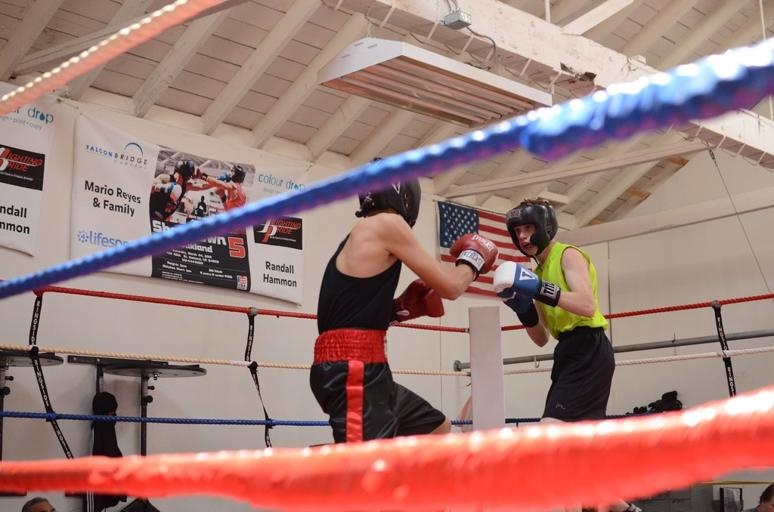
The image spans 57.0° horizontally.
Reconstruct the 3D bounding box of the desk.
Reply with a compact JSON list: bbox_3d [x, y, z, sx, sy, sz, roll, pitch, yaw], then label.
[{"bbox_3d":[-1.809,1.173,4.748,0.956,1.105,1.716,-4,-10,-13],"label":"desk"}]

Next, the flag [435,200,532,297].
[{"bbox_3d":[0.631,-0.075,5.006,0.041,0.667,0.970,-24,-46,38],"label":"flag"}]

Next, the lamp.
[{"bbox_3d":[0.336,-1.135,4.731,1.455,0.365,0.793,2,-12,-39],"label":"lamp"}]

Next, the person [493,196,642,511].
[{"bbox_3d":[0.729,0.213,3.134,0.443,1.026,0.630,-9,-10,15],"label":"person"}]

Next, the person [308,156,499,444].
[{"bbox_3d":[-0.007,0.184,2.606,0.559,0.950,0.580,-13,-12,34],"label":"person"}]

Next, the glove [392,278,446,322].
[{"bbox_3d":[0.117,0.168,2.814,0.213,0.114,0.129,-11,-7,19],"label":"glove"}]

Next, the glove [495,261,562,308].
[{"bbox_3d":[0.614,0.102,2.991,0.245,0.115,0.181,20,-8,-17],"label":"glove"}]
